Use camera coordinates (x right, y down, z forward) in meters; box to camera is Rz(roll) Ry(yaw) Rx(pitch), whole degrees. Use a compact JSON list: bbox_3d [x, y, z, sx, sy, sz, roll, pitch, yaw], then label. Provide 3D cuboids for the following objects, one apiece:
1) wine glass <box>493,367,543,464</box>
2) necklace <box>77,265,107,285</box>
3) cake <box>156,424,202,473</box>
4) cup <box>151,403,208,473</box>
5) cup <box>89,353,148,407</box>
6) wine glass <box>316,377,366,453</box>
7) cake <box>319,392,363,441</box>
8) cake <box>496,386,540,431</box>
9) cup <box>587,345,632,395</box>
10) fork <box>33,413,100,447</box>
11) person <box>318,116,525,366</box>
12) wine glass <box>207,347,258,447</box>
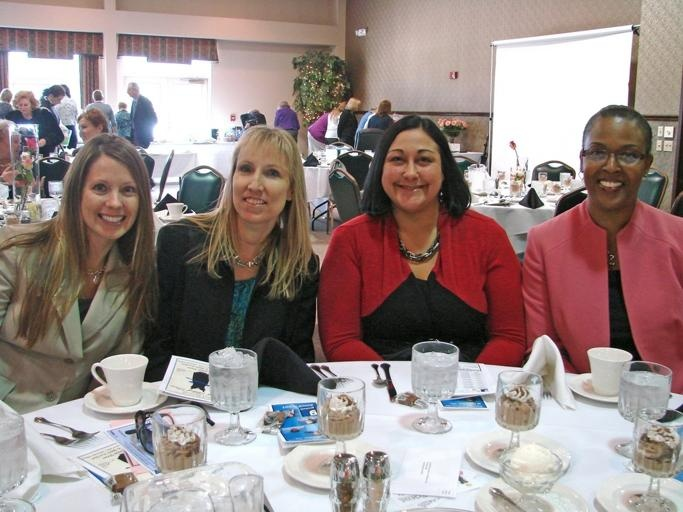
[{"bbox_3d":[0.438,0.414,1.347,0.102,0.232,0.100,8,16,30],"label":"wine glass"},{"bbox_3d":[-0.938,0.075,2.032,0.076,0.073,0.018,32,-10,-4],"label":"necklace"},{"bbox_3d":[-0.365,0.433,1.257,0.108,0.104,0.101,0,14,-1],"label":"cake"},{"bbox_3d":[-0.375,0.442,1.266,0.137,0.142,0.135,0,3,0],"label":"cup"},{"bbox_3d":[-0.654,0.375,1.576,0.172,0.120,0.143,0,6,-26],"label":"cup"},{"bbox_3d":[-0.003,0.417,1.310,0.124,0.196,0.124,0,3,-24],"label":"wine glass"},{"bbox_3d":[-0.001,0.382,1.289,0.106,0.090,0.105,-5,9,5],"label":"cake"},{"bbox_3d":[0.441,0.377,1.337,0.107,0.103,0.106,-1,-8,11],"label":"cake"},{"bbox_3d":[0.816,0.367,1.639,0.123,0.115,0.126,4,-4,0],"label":"cup"},{"bbox_3d":[-0.728,0.469,1.417,0.169,0.022,0.064,10,15,23],"label":"fork"},{"bbox_3d":[0.321,-0.004,2.199,0.866,1.093,0.663,-3,13,2],"label":"person"},{"bbox_3d":[-0.294,0.367,1.464,0.125,0.220,0.208,-3,9,-12],"label":"wine glass"}]
